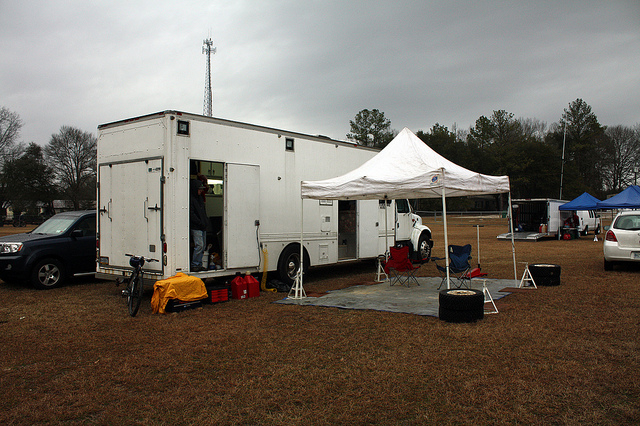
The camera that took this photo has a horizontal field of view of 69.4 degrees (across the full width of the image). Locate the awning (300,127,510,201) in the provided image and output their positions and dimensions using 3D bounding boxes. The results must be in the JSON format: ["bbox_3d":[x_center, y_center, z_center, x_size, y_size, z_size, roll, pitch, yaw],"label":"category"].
[{"bbox_3d":[2.271,-1.347,12.270,3.964,1.698,4.385,-1,2,38],"label":"awning"}]

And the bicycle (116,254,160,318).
[{"bbox_3d":[-3.893,1.554,9.950,0.520,1.187,1.412,2,-3,-8],"label":"bicycle"}]

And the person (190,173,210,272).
[{"bbox_3d":[-2.724,0.169,10.677,0.344,2.179,1.242,-1,6,-5],"label":"person"}]

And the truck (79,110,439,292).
[{"bbox_3d":[-0.698,-0.132,14.068,3.252,4.270,10.308,1,0,40],"label":"truck"}]

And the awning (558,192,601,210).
[{"bbox_3d":[14.280,-0.625,25.635,1.904,0.923,1.556,5,9,44],"label":"awning"}]

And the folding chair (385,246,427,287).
[{"bbox_3d":[2.253,1.377,12.692,0.858,1.200,2.001,0,6,11],"label":"folding chair"}]

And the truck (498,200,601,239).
[{"bbox_3d":[13.428,0.368,26.693,5.913,1.759,1.904,-4,3,-44],"label":"truck"}]

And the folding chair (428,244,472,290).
[{"bbox_3d":[3.247,1.298,10.837,0.922,1.056,0.870,3,4,33],"label":"folding chair"}]
